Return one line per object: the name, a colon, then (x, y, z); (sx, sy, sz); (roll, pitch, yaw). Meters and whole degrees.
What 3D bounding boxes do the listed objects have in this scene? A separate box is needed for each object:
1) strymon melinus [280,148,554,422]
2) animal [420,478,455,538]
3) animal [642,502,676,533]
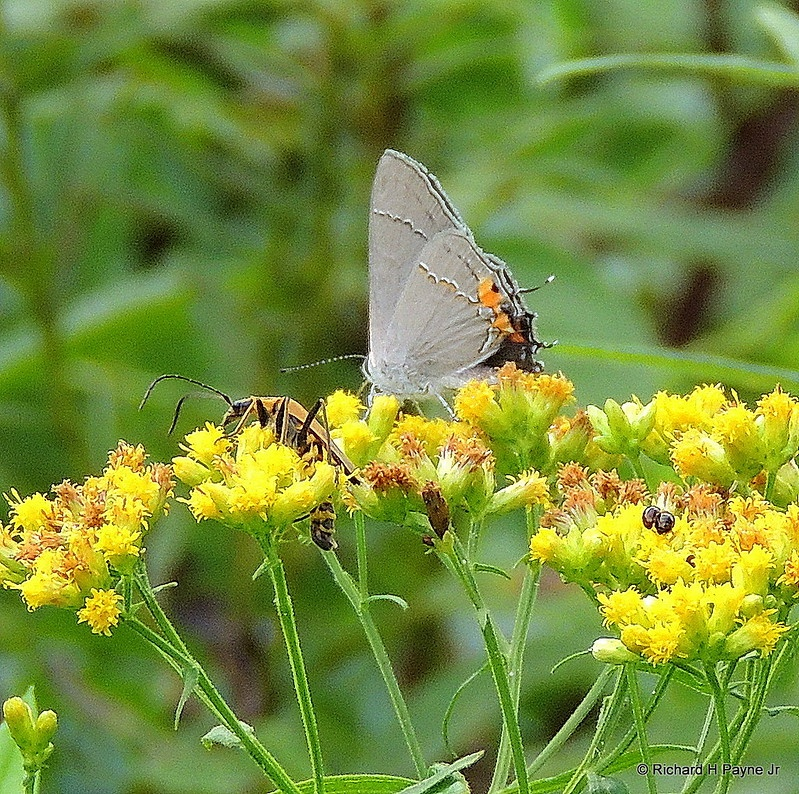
strymon melinus: (0.104, -0.207, 2.484); (0.387, 0.646, 0.278); (4, 3, 7)
animal: (0.050, 0.151, 1.592); (0.035, 0.090, 0.026); (-8, 22, -9)
animal: (0.323, 0.154, 1.551); (0.032, 0.027, 0.045); (-20, 30, -34)
